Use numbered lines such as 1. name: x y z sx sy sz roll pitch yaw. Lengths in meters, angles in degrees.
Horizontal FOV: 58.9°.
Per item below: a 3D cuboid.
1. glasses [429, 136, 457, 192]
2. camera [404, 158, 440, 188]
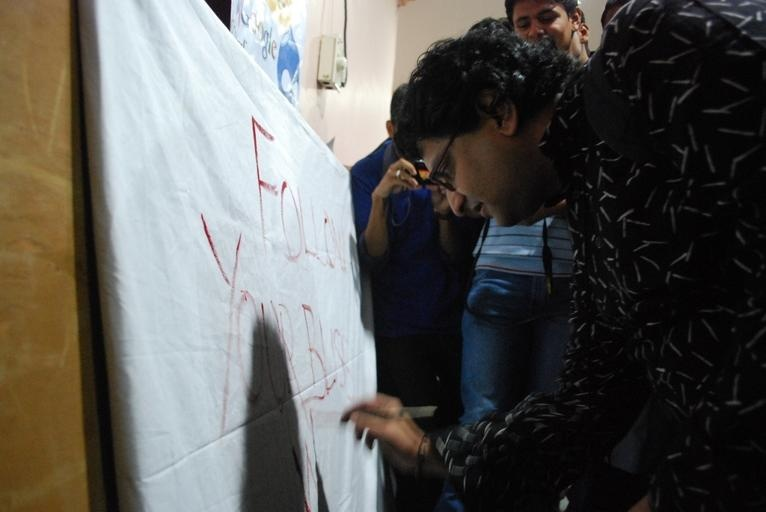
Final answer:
1. glasses: 0.114 -0.174 1.308 0.021 0.076 0.069 18 -10 2
2. camera: 0.085 -0.198 1.640 0.073 0.078 0.020 13 37 38
